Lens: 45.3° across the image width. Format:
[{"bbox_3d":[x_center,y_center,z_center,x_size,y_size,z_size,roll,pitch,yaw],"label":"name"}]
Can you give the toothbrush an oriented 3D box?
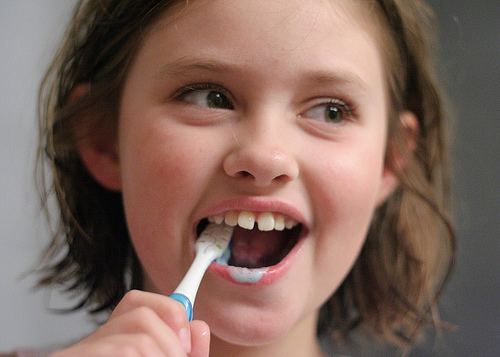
[{"bbox_3d":[-0.114,0.211,1.526,0.077,0.039,0.323,22,41,-8],"label":"toothbrush"}]
